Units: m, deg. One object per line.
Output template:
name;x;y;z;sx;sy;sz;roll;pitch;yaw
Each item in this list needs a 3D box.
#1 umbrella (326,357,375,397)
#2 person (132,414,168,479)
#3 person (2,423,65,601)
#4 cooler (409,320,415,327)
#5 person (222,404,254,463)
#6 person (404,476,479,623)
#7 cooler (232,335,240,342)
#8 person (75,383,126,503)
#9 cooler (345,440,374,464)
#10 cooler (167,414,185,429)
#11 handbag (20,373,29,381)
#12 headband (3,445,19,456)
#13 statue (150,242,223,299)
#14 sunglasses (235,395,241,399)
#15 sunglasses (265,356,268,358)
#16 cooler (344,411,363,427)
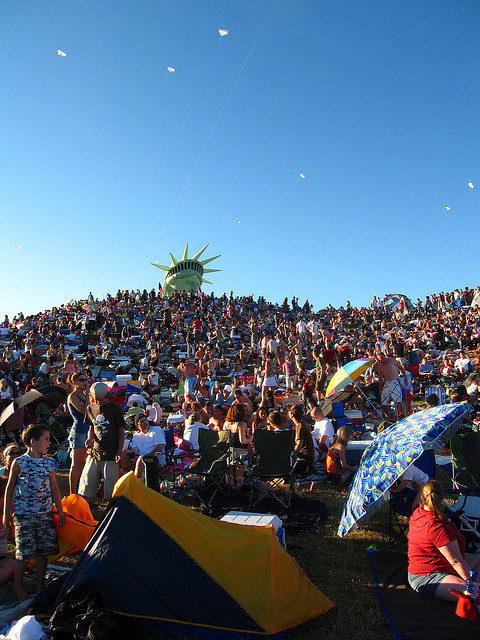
umbrella;2.102;1.131;9.332;0.988;0.778;0.565;-3;-5;30
person;-1.201;1.724;6.345;0.499;0.760;2.159;0;-5;-9
person;-1.702;1.550;3.952;0.411;1.314;0.338;2;-5;-27
cooler;9.305;0.229;26.297;0.234;0.410;1.351;-2;-5;20
person;0.000;1.644;7.162;0.377;0.743;0.425;0;-5;-3
person;1.518;1.638;3.622;0.541;0.871;0.880;-2;-5;18
cooler;-0.181;0.895;23.044;0.359;0.357;0.243;1;-17;-9
person;-1.624;1.439;5.741;0.441;1.366;0.521;2;-5;-24
cooler;1.680;1.934;6.940;0.435;0.245;0.609;2;-25;2
cooler;-1.246;2.007;9.434;0.380;0.202;0.551;1;-2;-1
handbag;-7.066;1.891;15.773;0.214;0.212;0.444;2;-5;-29
headband;-2.162;1.235;4.541;0.116;0.090;0.116;2;-5;-26
statue;-8.805;-8.054;76.510;9.082;4.517;9.942;-10;13;-34
sunglasses;-0.048;1.610;10.028;0.084;0.022;0.091;-21;-6;40
sunglasses;0.738;1.054;13.571;0.081;0.021;0.089;-5;7;18
cooler;2.216;1.990;9.607;0.310;0.276;0.458;-4;-5;35
